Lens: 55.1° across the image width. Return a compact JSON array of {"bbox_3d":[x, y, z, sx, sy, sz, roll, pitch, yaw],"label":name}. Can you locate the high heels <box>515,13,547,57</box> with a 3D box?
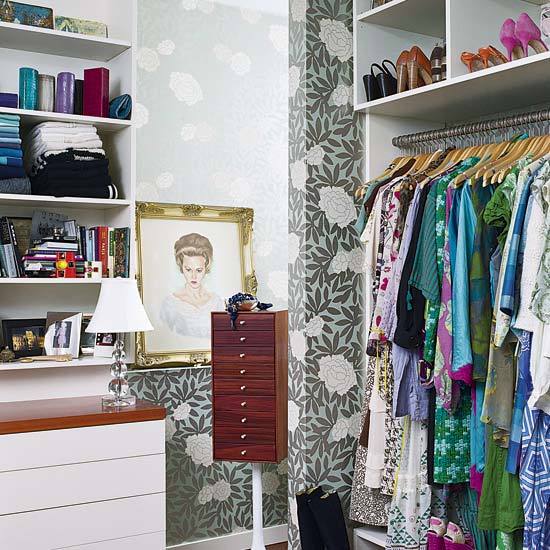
[{"bbox_3d":[0.800,-0.755,1.655,0.060,0.099,0.204,-3,7,25],"label":"high heels"}]

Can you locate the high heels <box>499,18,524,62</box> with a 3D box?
[{"bbox_3d":[0.740,-0.748,1.664,0.052,0.086,0.177,-2,13,19],"label":"high heels"}]

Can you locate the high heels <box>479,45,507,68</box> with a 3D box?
[{"bbox_3d":[0.733,-0.723,1.789,0.064,0.066,0.175,0,10,7],"label":"high heels"}]

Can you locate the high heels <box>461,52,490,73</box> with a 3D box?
[{"bbox_3d":[0.670,-0.728,1.790,0.037,0.057,0.128,-19,5,26],"label":"high heels"}]

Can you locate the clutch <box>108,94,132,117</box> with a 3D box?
[{"bbox_3d":[-0.734,-0.784,2.497,0.084,0.146,0.099,-1,-2,-37],"label":"clutch"}]

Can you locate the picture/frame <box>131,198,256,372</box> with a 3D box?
[{"bbox_3d":[-0.478,0.072,2.865,0.930,1.047,0.077,0,-1,-36],"label":"picture/frame"}]

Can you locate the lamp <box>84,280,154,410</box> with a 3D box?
[{"bbox_3d":[-0.698,0.296,2.291,0.256,0.570,0.412,0,2,-27],"label":"lamp"}]
